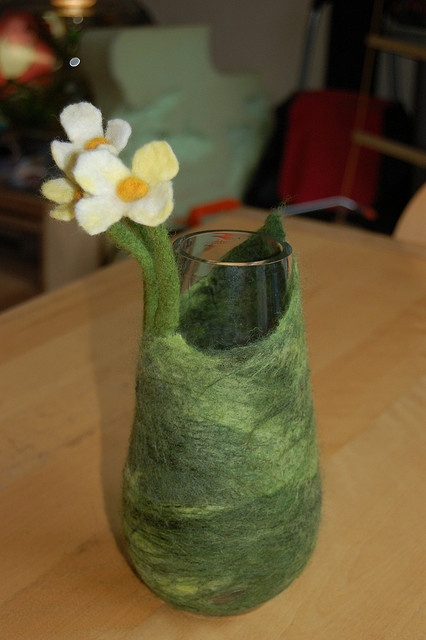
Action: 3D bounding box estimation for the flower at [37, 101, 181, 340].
[{"bbox_3d":[-0.044,-0.040,0.251,0.053,0.099,0.086,-8,36,-18],"label":"flower"}]
